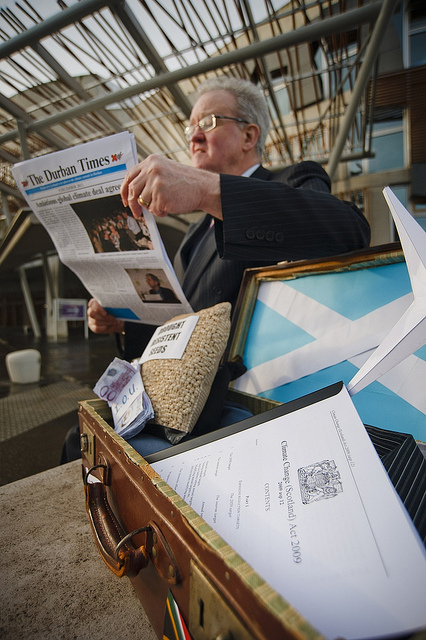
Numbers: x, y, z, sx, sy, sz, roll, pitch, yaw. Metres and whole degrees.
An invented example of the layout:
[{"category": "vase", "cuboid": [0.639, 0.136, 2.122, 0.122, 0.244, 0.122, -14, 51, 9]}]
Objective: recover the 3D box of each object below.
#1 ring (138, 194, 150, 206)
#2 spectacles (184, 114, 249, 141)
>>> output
[{"category": "ring", "cuboid": [-0.125, -0.217, 0.761, 0.007, 0.017, 0.013, -39, 30, -3]}, {"category": "spectacles", "cuboid": [0.004, -0.664, 1.371, 0.116, 0.036, 0.116, 2, -4, -21]}]
